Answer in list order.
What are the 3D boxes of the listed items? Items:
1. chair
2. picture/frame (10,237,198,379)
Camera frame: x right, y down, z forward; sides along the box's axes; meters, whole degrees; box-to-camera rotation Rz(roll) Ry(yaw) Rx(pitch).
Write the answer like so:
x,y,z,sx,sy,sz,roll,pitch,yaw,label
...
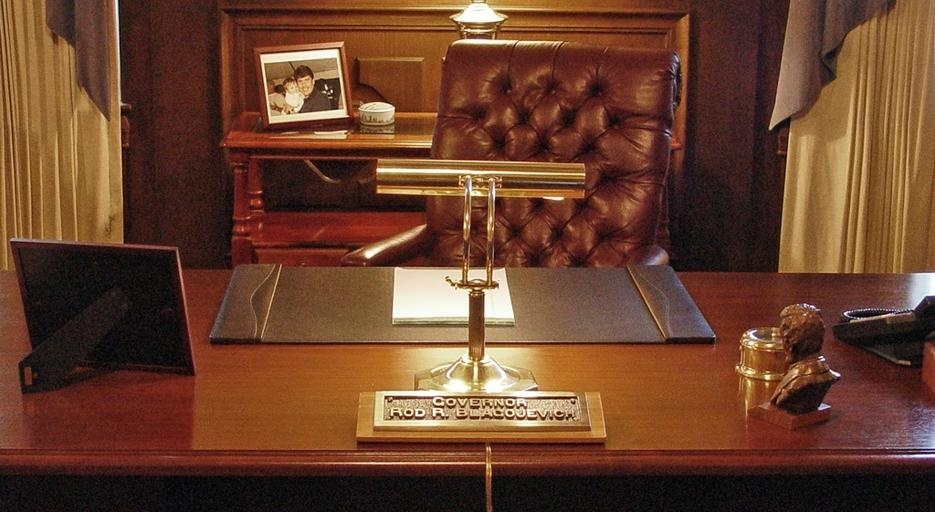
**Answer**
x,y,z,sx,sy,sz,roll,pitch,yaw,label
0.175,-0.395,3.284,1.019,1.163,1.091,6,8,14,chair
-0.946,0.133,2.007,0.501,0.350,0.035,1,11,14,picture/frame
